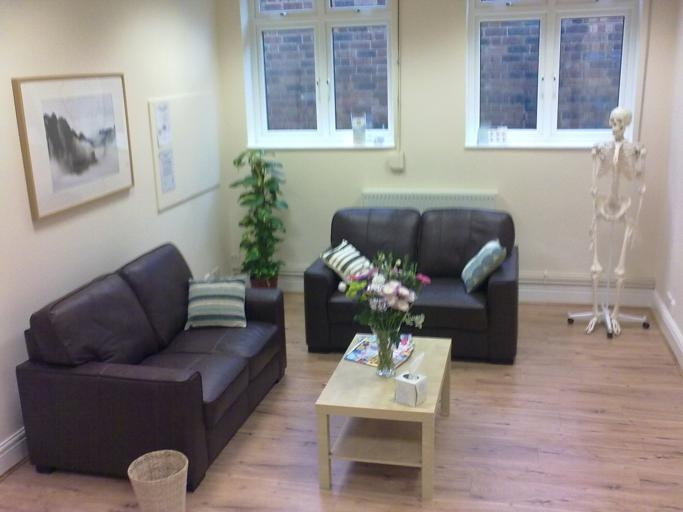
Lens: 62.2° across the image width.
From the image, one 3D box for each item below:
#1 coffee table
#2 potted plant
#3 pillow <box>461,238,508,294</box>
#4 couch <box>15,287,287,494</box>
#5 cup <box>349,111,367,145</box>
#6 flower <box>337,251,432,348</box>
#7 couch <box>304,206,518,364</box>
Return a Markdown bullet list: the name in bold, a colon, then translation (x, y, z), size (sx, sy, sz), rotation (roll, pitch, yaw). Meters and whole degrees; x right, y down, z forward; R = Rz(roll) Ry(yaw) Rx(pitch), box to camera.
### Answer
- **coffee table**: translation (0.264, 1.033, 3.692), size (0.733, 0.589, 1.162), rotation (3, 22, 11)
- **potted plant**: translation (-0.860, -0.380, 6.126), size (0.573, 1.516, 0.741), rotation (-4, 15, -7)
- **pillow**: translation (1.235, 0.082, 4.955), size (0.346, 0.409, 0.373), rotation (1, 15, 12)
- **couch**: translation (-1.301, 0.730, 4.380), size (1.243, 1.274, 1.889), rotation (2, 13, 15)
- **cup**: translation (0.192, -1.384, 6.184), size (0.169, 0.335, 0.251), rotation (-1, 15, 3)
- **flower**: translation (0.325, 0.317, 3.705), size (0.496, 0.572, 0.455), rotation (0, 7, 31)
- **couch**: translation (0.694, 0.278, 5.260), size (1.838, 1.306, 1.065), rotation (3, 13, 18)
